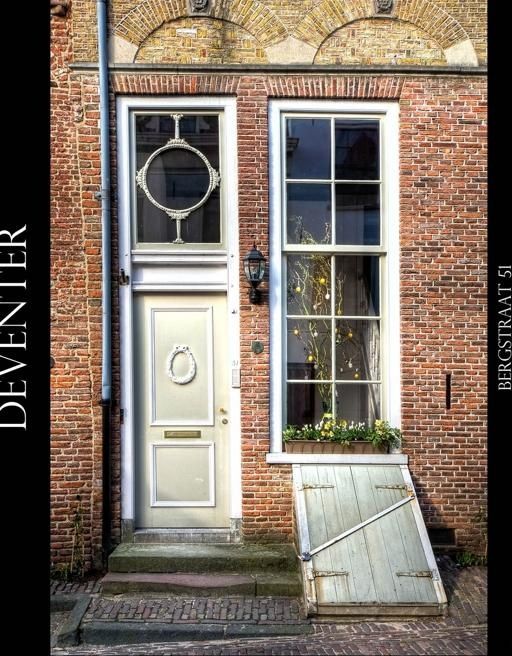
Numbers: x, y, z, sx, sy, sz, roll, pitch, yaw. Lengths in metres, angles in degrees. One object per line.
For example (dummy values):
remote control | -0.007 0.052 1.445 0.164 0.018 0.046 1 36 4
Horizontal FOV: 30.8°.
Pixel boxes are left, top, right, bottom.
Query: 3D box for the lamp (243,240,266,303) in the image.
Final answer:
lamp | -0.006 -0.522 8.971 0.220 0.405 0.301 -3 -1 0
